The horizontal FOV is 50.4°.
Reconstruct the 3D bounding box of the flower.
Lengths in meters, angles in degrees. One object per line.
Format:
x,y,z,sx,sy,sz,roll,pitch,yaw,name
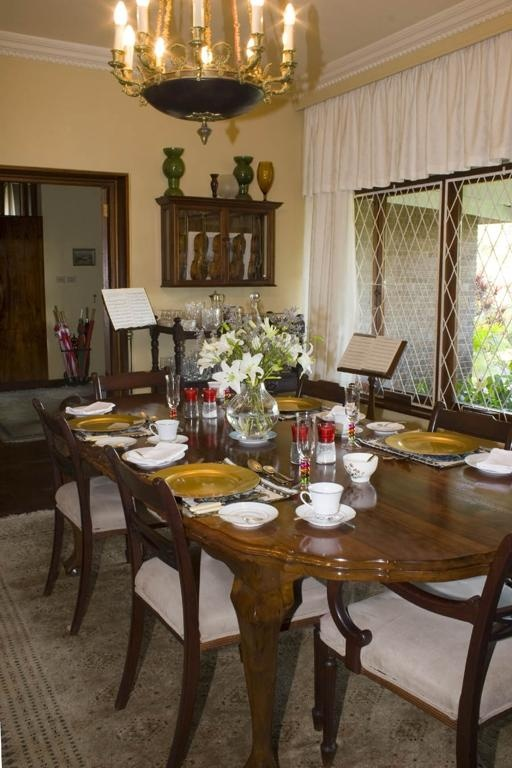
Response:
-0.003,-0.105,2.008,0.418,0.268,0.337,-4,6,-39,flower

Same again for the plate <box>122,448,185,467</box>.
-0.305,0.221,1.664,0.084,0.027,0.096,5,8,24,plate

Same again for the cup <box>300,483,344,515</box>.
0.144,0.251,1.222,0.082,0.053,0.075,-1,12,0,cup

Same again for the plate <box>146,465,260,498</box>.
-0.130,0.256,1.472,0.139,0.016,0.140,-7,15,-28,plate

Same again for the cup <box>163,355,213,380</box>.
-0.564,-0.112,4.200,0.269,0.140,0.358,-4,7,-43,cup

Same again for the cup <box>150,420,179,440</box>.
-0.318,0.151,1.899,0.083,0.063,0.073,-6,9,-18,cup

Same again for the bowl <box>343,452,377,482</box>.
0.293,0.235,1.529,0.081,0.063,0.081,-1,8,0,bowl

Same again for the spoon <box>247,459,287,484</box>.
0.037,0.244,1.595,0.041,0.020,0.139,-7,15,-27,spoon

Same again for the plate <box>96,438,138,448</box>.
-0.478,0.199,1.874,0.073,0.014,0.076,3,9,5,plate

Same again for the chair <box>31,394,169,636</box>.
-0.647,0.368,2.482,0.753,1.149,0.662,-5,19,-24,chair
